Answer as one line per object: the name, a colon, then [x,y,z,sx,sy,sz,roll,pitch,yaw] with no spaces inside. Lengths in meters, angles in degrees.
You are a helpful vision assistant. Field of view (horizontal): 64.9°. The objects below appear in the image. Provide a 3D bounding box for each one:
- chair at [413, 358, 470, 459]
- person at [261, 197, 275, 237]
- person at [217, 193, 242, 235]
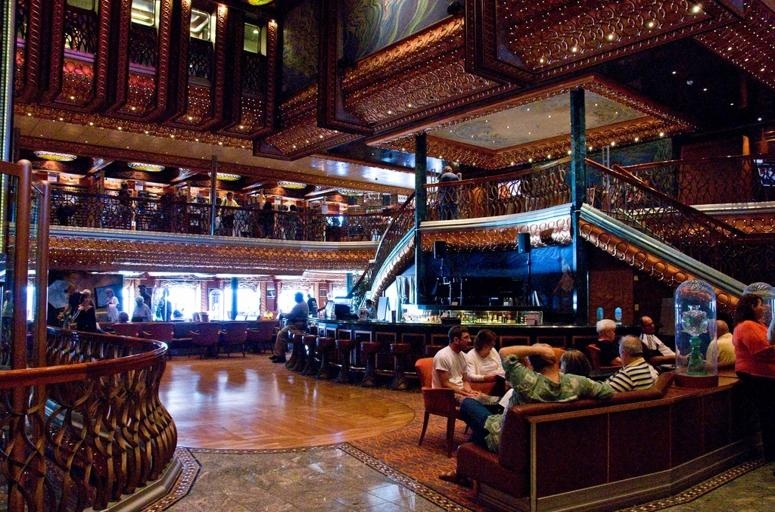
chair: [0.781,1.931,7.973,0.813,1.059,0.887,-1,-1,10]
person: [-3.898,-1.200,19.678,0.436,1.253,0.961,1,-3,-12]
person: [-5.116,-1.358,19.681,0.563,1.582,2.520,2,-3,-14]
